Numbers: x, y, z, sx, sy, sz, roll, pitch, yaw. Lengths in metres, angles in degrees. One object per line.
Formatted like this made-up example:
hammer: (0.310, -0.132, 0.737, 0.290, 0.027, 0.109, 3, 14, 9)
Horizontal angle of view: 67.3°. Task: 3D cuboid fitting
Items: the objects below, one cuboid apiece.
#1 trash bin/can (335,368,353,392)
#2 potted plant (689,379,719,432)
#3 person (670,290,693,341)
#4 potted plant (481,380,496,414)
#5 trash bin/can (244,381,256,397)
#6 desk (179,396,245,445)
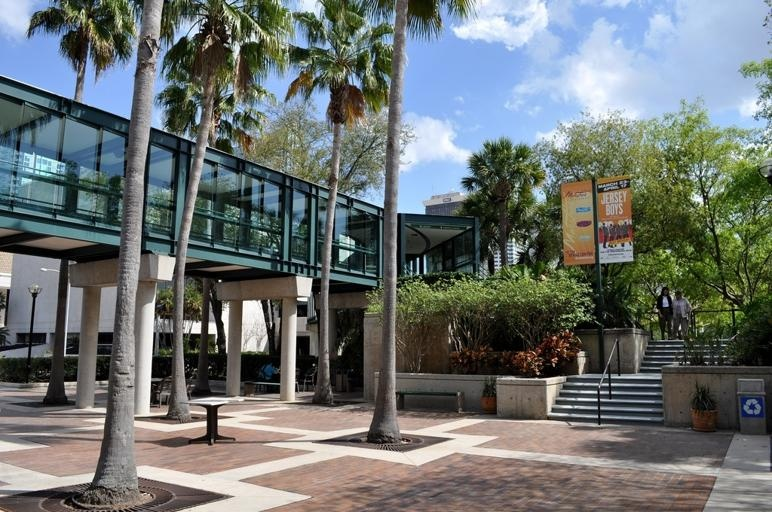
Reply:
trash bin/can: (-2.347, 6.398, 30.087, 0.888, 1.361, 0.944, -2, -7, 32)
potted plant: (9.386, 4.423, 17.087, 0.661, 1.267, 0.611, -1, -2, 30)
person: (12.503, 2.435, 24.519, 0.629, 2.004, 1.288, -1, -2, 26)
potted plant: (3.812, 4.990, 20.980, 0.708, 1.245, 0.724, 4, -11, 4)
trash bin/can: (-6.465, 6.185, 27.289, 0.627, 0.741, 0.616, 5, -9, -38)
desk: (-4.860, 4.443, 15.752, 1.461, 1.437, 1.504, -5, -10, 34)
